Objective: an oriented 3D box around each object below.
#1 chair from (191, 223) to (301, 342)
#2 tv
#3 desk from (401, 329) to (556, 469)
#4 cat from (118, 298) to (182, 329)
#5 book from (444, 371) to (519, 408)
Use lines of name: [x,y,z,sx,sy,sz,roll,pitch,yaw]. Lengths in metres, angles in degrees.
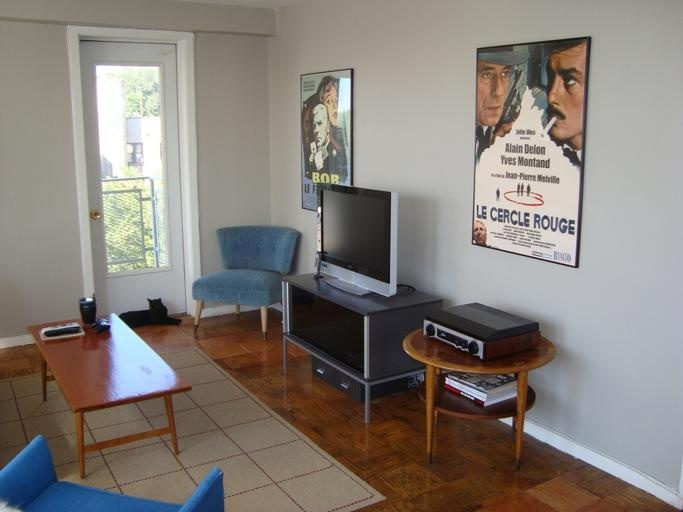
chair: [-0.976,0.193,5.335,1.025,1.068,1.017,3,6,19]
tv: [0.120,-0.105,3.819,0.188,0.608,0.792,-5,10,-31]
desk: [0.819,0.623,3.138,0.783,0.573,0.759,9,17,27]
cat: [-1.820,0.516,5.245,0.637,0.272,0.228,-7,11,-13]
book: [0.788,0.757,3.142,0.231,0.054,0.223,-8,13,-36]
